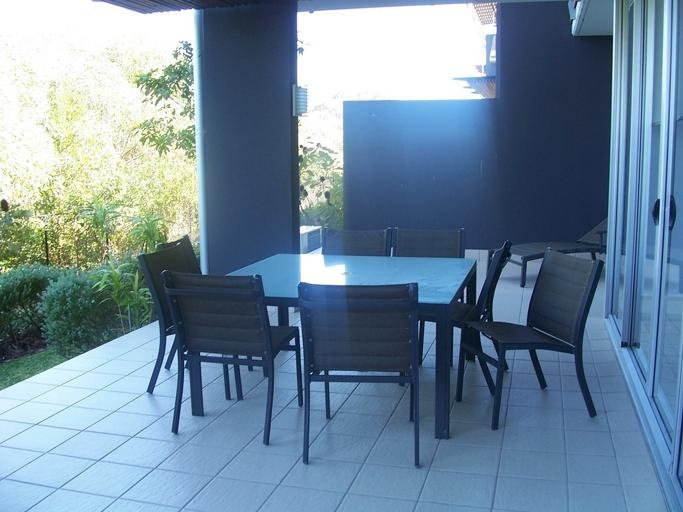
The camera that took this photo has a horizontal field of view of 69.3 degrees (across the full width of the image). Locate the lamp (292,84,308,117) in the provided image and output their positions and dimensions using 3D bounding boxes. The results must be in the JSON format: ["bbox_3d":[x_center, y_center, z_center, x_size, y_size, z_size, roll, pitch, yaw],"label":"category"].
[{"bbox_3d":[-0.428,-1.593,5.078,0.155,0.311,0.067,-1,11,1],"label":"lamp"}]
